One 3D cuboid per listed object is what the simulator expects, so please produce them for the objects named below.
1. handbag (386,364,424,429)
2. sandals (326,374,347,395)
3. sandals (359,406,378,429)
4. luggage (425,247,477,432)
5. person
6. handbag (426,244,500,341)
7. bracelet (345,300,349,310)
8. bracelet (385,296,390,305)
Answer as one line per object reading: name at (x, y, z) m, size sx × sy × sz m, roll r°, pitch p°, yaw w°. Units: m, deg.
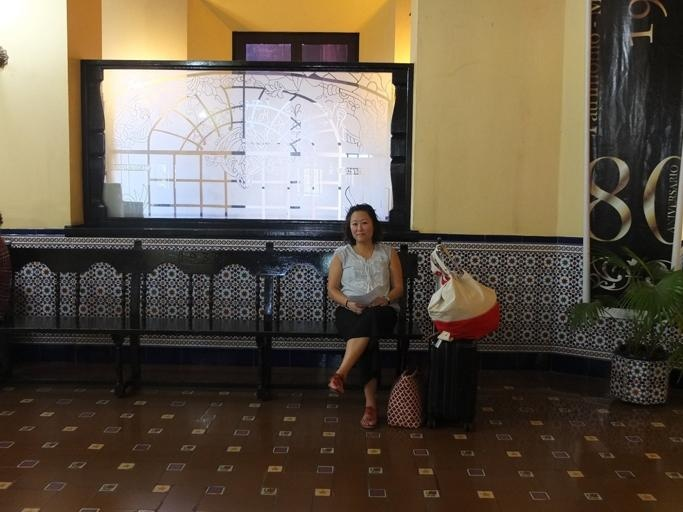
handbag at (0.471, 1.053, 4.543) m, size 0.236 × 0.356 × 0.500 m, roll 1°, pitch -4°, yaw 8°
sandals at (-0.022, 0.894, 4.443) m, size 0.089 × 0.093 × 0.253 m, roll 0°, pitch 17°, yaw -2°
sandals at (0.199, 1.148, 4.366) m, size 0.109 × 0.121 × 0.300 m, roll 0°, pitch -4°, yaw 4°
luggage at (0.828, 0.574, 4.532) m, size 0.444 × 1.347 × 0.409 m, roll 4°, pitch -3°, yaw 24°
person at (0.175, 0.386, 4.583) m, size 0.565 × 1.449 × 0.798 m, roll 1°, pitch 12°, yaw 4°
handbag at (0.866, 0.261, 4.457) m, size 0.460 × 0.661 × 0.457 m, roll -9°, pitch 3°, yaw 0°
bracelet at (0.049, 0.365, 4.603) m, size 0.025 × 0.067 × 0.064 m, roll 1°, pitch 13°, yaw 0°
bracelet at (0.346, 0.334, 4.609) m, size 0.017 × 0.038 × 0.049 m, roll 9°, pitch -2°, yaw -25°
